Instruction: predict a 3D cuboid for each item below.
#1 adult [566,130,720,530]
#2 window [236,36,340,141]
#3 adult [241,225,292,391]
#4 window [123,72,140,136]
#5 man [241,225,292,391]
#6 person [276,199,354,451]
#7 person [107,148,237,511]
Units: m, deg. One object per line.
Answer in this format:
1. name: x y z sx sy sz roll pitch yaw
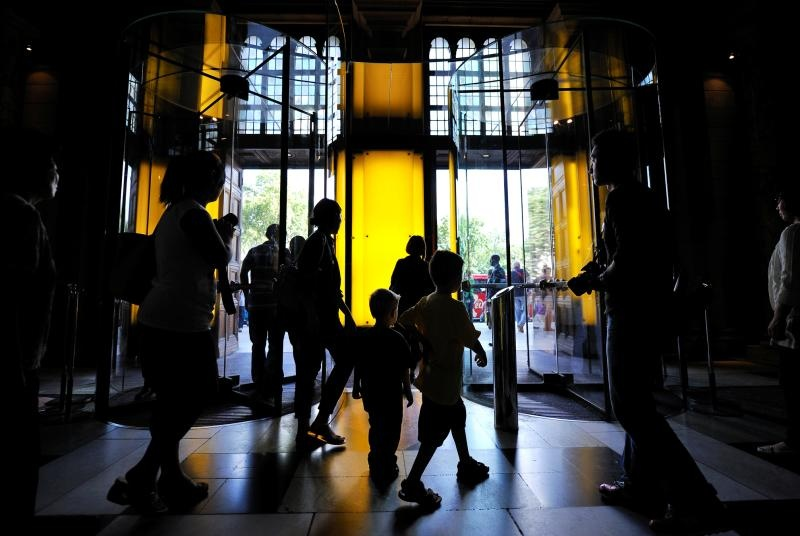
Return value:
1. adult: 1.823 0.399 4.705 0.969 2.746 1.138 1 14 5
2. window: -1.238 -1.686 6.739 1.021 0.049 1.086 -15 -12 -28
3. adult: -1.400 0.375 6.485 0.563 1.768 0.530 3 -4 -23
4. window: -2.705 -1.717 6.247 0.019 0.559 0.117 -7 -11 30
5. man: -1.360 0.385 6.501 0.582 1.819 0.568 3 -10 -23
6. person: -0.811 0.481 5.718 0.677 2.300 0.729 3 2 35
7. person: -1.731 0.454 5.046 0.773 2.764 1.016 3 0 0
